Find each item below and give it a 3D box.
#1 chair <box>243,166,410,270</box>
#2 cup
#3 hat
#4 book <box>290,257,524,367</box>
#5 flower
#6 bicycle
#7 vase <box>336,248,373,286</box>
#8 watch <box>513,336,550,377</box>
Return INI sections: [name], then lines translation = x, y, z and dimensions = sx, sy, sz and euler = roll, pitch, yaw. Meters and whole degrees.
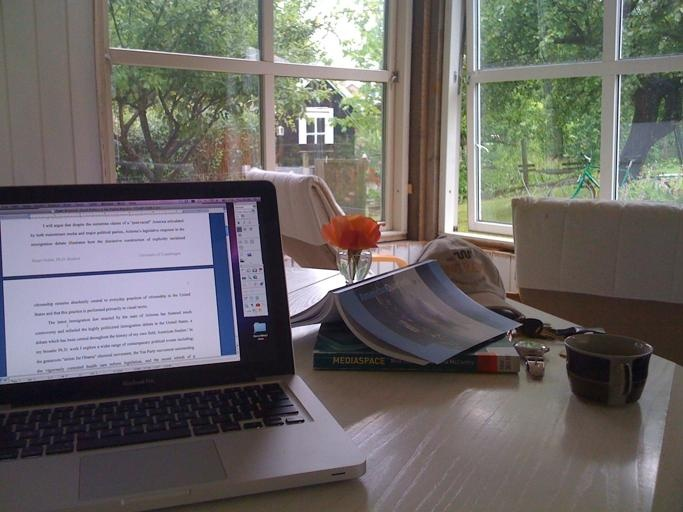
[chair]
translation = -0.058, -0.124, 2.532
dimensions = 0.552, 0.558, 0.484
euler = -15, 20, -22
[cup]
translation = 0.406, 0.167, 0.850
dimensions = 0.097, 0.074, 0.121
euler = -2, 9, -3
[hat]
translation = 0.256, 0.040, 1.242
dimensions = 0.223, 0.177, 0.350
euler = 1, -3, -7
[book]
translation = 0.151, 0.038, 0.961
dimensions = 0.215, 0.087, 0.274
euler = -11, 13, -41
[flower]
translation = 0.017, -0.034, 1.405
dimensions = 0.135, 0.171, 0.139
euler = -6, 12, -24
[bicycle]
translation = 1.435, -0.422, 2.958
dimensions = 0.190, 0.274, 0.510
euler = -14, 21, -43
[vase]
translation = 0.037, 0.021, 1.417
dimensions = 0.079, 0.110, 0.081
euler = -1, 10, -2
[watch]
translation = 0.336, 0.169, 0.981
dimensions = 0.067, 0.033, 0.084
euler = 14, 30, 23
